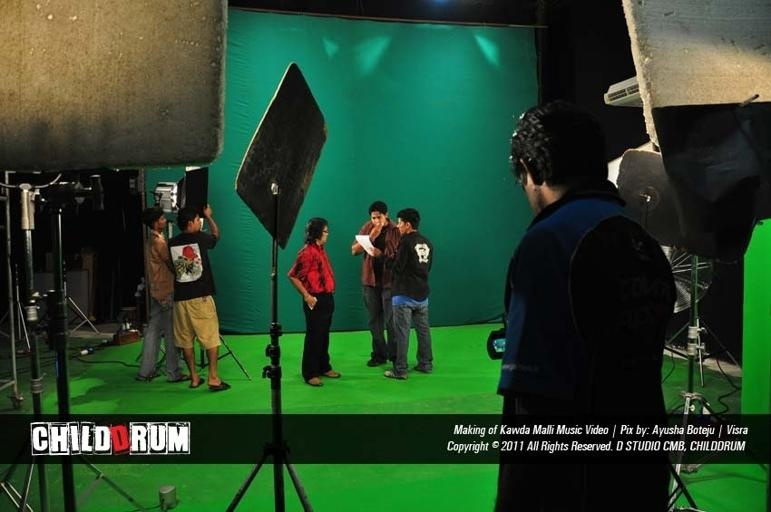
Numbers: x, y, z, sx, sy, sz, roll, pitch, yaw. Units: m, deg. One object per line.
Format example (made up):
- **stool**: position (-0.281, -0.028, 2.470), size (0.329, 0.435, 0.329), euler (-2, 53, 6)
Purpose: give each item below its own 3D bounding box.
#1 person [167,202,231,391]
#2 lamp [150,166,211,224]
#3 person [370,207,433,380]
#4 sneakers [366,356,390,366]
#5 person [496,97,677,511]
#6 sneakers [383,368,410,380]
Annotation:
- **person**: position (-1.792, 0.400, 7.075), size (0.497, 1.771, 0.266), euler (-2, -3, -20)
- **lamp**: position (-2.071, -0.661, 7.506), size (0.640, 0.580, 0.396), euler (-2, 7, 12)
- **person**: position (0.228, 0.361, 7.619), size (0.525, 1.726, 0.570), euler (-3, -3, 3)
- **sneakers**: position (-0.081, 1.130, 8.050), size (0.236, 0.100, 0.087), euler (3, -3, -22)
- **person**: position (0.918, 0.237, 3.515), size (0.879, 1.972, 0.297), euler (-2, -3, -9)
- **sneakers**: position (0.100, 1.182, 7.472), size (0.257, 0.101, 0.177), euler (-4, -3, 19)
